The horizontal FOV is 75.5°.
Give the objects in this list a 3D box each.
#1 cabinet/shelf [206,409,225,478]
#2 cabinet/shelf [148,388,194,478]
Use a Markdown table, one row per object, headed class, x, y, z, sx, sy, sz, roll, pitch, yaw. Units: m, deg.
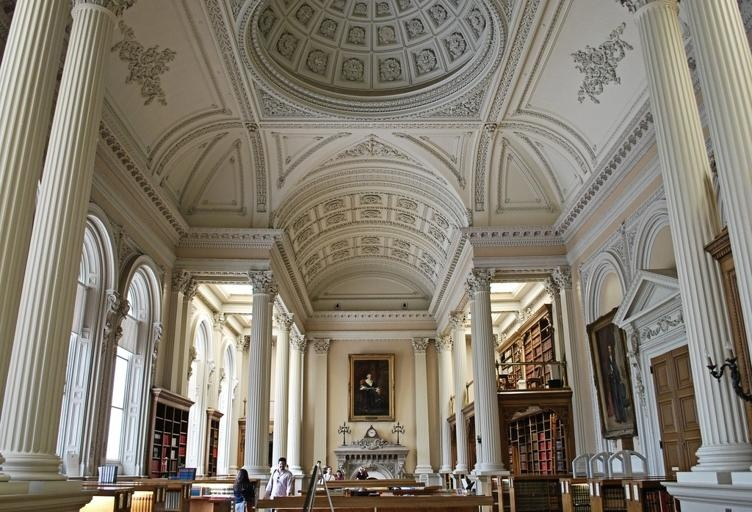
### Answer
| class | x | y | z | sx | sy | sz | roll | pitch | yaw |
| --- | --- | --- | --- | --- | --- | --- | --- | --- | --- |
| cabinet/shelf | -6.639 | 7.656 | 19.783 | 0.579 | 2.407 | 2.697 | 6 | -25 | -14 |
| cabinet/shelf | -5.832 | 5.093 | 13.715 | 0.778 | 2.120 | 3.321 | 6 | -26 | -14 |
